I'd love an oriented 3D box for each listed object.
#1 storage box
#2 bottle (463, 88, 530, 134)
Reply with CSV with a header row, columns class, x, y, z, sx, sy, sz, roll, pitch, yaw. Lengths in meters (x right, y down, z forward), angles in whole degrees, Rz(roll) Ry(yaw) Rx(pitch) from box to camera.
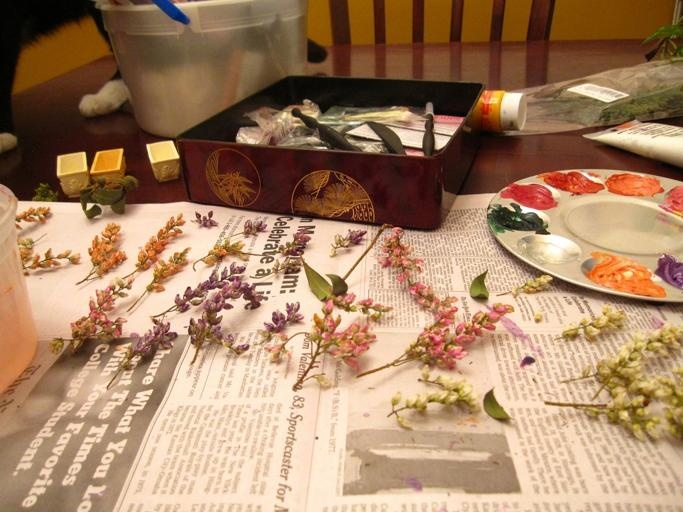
class,x,y,z,sx,sy,sz,roll,pitch,yaw
storage box,0.015,-0.138,0.779,0.351,0.357,0.086,6,81,15
bottle,0.249,-0.235,0.822,0.132,0.074,0.083,2,10,25
